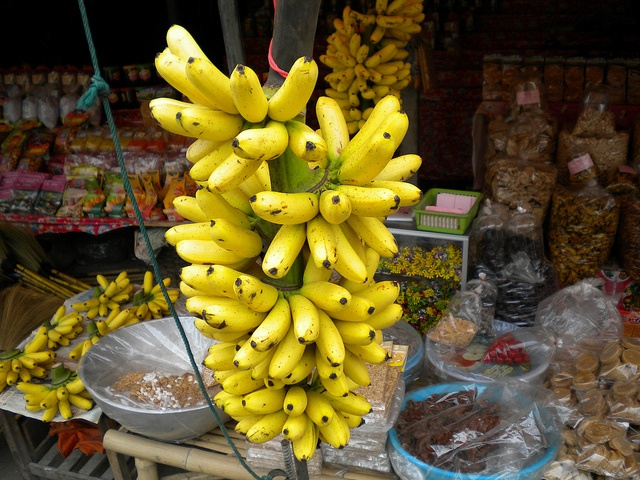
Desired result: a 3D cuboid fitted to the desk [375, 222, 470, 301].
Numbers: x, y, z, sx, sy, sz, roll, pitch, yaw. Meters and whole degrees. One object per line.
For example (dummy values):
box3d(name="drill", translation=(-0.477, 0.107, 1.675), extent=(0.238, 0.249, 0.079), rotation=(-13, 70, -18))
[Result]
box3d(name="desk", translation=(0.728, 0.223, 3.870), extent=(0.625, 0.651, 0.451), rotation=(3, 15, 14))

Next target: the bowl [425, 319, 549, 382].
box3d(name="bowl", translation=(0.966, 0.662, 3.031), extent=(0.391, 0.178, 0.412), rotation=(-10, 10, 2))

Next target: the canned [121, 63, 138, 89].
box3d(name="canned", translation=(-1.952, -1.711, 5.642), extent=(0.188, 0.219, 0.198), rotation=(-3, 22, 9))

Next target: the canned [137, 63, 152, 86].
box3d(name="canned", translation=(-1.827, -1.744, 5.657), extent=(0.169, 0.203, 0.177), rotation=(3, 14, 12))

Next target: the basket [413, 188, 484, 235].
box3d(name="basket", translation=(0.921, -0.195, 3.970), extent=(0.407, 0.143, 0.493), rotation=(10, 20, 29))

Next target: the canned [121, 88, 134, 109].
box3d(name="canned", translation=(-1.995, -1.479, 5.616), extent=(0.172, 0.193, 0.173), rotation=(-10, 32, -18))

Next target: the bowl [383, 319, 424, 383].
box3d(name="bowl", translation=(0.481, 0.575, 3.055), extent=(0.284, 0.122, 0.311), rotation=(-16, 34, 11))

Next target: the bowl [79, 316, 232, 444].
box3d(name="bowl", translation=(-0.834, 0.752, 2.768), extent=(0.687, 0.282, 0.668), rotation=(3, 29, -1))
